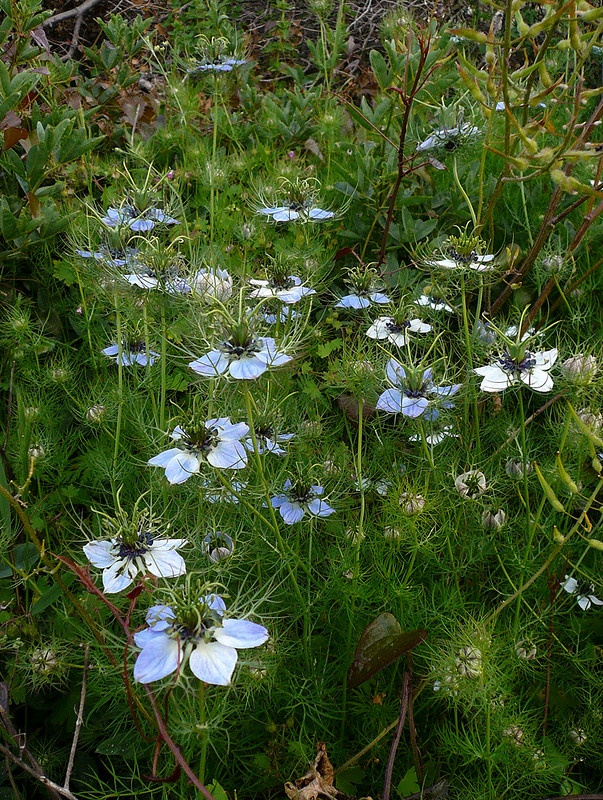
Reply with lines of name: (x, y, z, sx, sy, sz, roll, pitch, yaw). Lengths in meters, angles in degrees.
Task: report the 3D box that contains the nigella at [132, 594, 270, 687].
nigella: (-0.141, 0.347, 1.020, 0.184, 0.056, 0.129, -5, 35, -11)
